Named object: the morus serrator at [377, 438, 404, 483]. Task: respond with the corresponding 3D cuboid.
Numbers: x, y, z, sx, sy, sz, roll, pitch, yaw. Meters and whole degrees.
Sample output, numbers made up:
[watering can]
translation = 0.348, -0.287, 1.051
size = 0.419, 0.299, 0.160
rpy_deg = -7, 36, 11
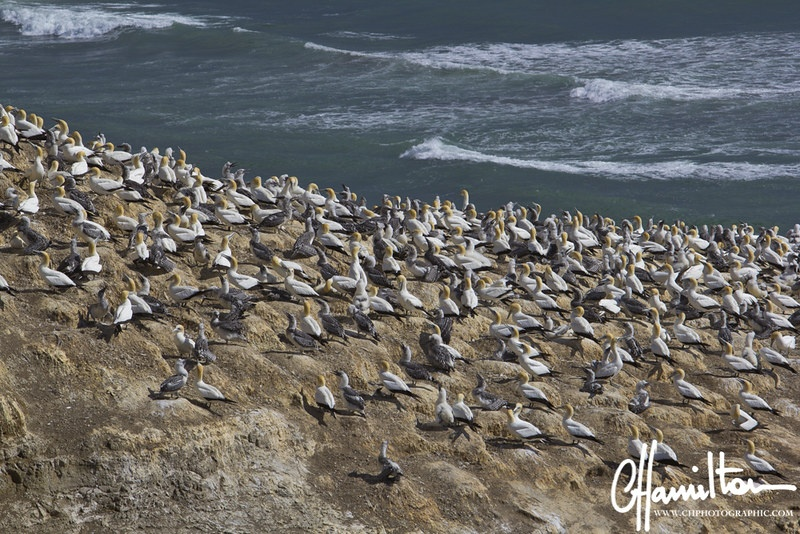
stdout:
[morus serrator]
translation = -0.329, 8.733, 53.553
size = 1.179, 1.665, 0.685
rpy_deg = 11, 22, 17
